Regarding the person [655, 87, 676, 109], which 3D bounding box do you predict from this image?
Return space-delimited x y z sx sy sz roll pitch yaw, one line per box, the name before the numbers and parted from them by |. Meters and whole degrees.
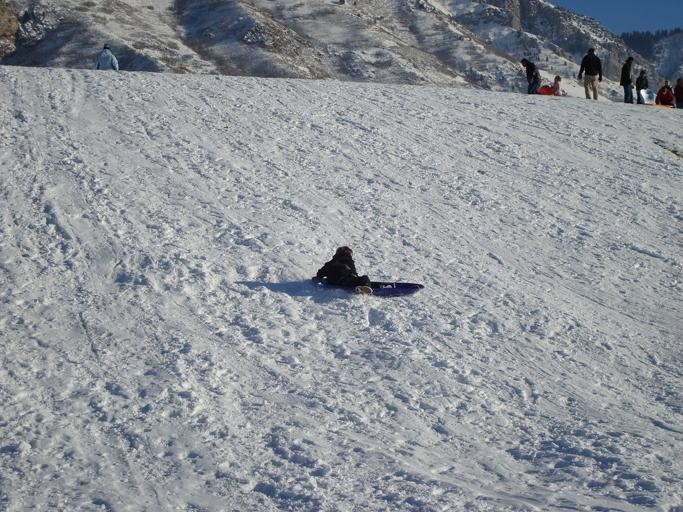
person | 12.261 -6.008 48.330 0.876 0.789 0.271 4 -8 3
